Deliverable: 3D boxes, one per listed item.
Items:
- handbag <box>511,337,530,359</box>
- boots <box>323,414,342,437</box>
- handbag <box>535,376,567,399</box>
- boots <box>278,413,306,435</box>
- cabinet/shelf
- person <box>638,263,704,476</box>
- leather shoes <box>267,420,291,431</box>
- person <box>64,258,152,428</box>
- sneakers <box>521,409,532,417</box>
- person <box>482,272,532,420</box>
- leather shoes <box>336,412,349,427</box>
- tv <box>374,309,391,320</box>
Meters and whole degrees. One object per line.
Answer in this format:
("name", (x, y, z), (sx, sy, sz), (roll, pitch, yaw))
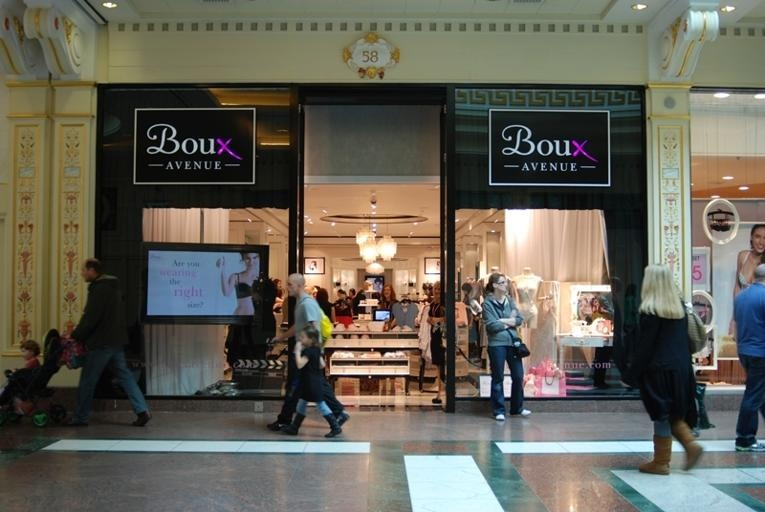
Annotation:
("handbag", (1.826, 1.234, 9.111), (0.187, 0.302, 0.146), (1, 6, 10))
("boots", (-0.599, 2.026, 8.217), (0.196, 0.277, 0.239), (-1, 6, -3))
("handbag", (2.302, 1.822, 9.433), (0.452, 0.282, 0.279), (0, -10, 2))
("boots", (-1.105, 2.020, 8.326), (0.258, 0.286, 0.328), (-1, 6, -10))
("cabinet/shelf", (-0.086, 1.729, 11.538), (1.605, 0.833, 1.759), (-1, 0, 2))
("person", (2.875, 1.157, 6.889), (0.642, 2.105, 0.309), (2, 6, 24))
("leather shoes", (-1.282, 2.073, 8.332), (0.315, 0.126, 0.111), (4, -23, 9))
("person", (-3.447, 1.200, 8.547), (0.885, 1.860, 0.451), (-2, 6, -15))
("sneakers", (1.902, 2.105, 9.139), (0.084, 0.061, 0.149), (0, -4, -45))
("person", (1.626, 1.194, 9.079), (0.636, 1.881, 0.621), (1, 6, 8))
("leather shoes", (-0.500, 2.036, 8.352), (0.112, 0.239, 0.090), (21, 29, -10))
("tv", (-0.022, 1.316, 15.156), (0.367, 0.233, 0.190), (1, -6, 1))
